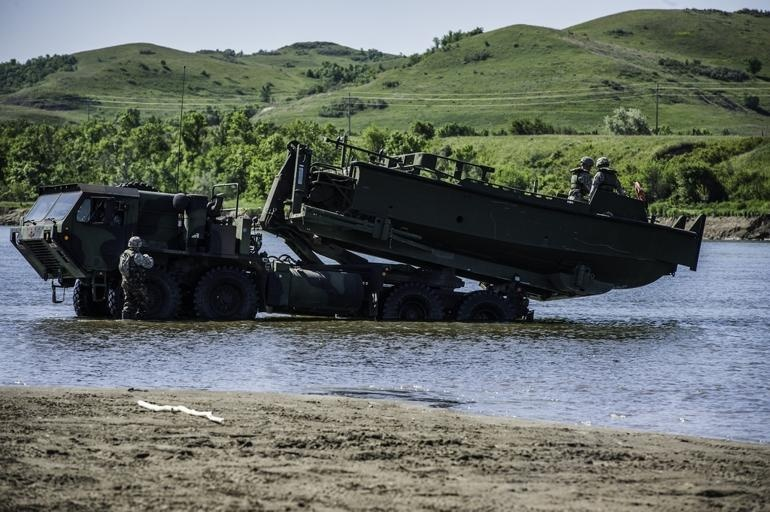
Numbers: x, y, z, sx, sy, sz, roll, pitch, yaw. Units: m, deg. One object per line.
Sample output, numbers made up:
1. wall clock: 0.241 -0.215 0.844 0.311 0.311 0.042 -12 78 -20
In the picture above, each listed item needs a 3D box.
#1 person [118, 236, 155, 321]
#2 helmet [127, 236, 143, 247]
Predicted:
1. person: -9.304 0.833 48.557 1.223 3.087 1.091 -4 5 -10
2. helmet: -9.322 -0.521 48.300 0.518 0.362 0.372 -5 7 -11
